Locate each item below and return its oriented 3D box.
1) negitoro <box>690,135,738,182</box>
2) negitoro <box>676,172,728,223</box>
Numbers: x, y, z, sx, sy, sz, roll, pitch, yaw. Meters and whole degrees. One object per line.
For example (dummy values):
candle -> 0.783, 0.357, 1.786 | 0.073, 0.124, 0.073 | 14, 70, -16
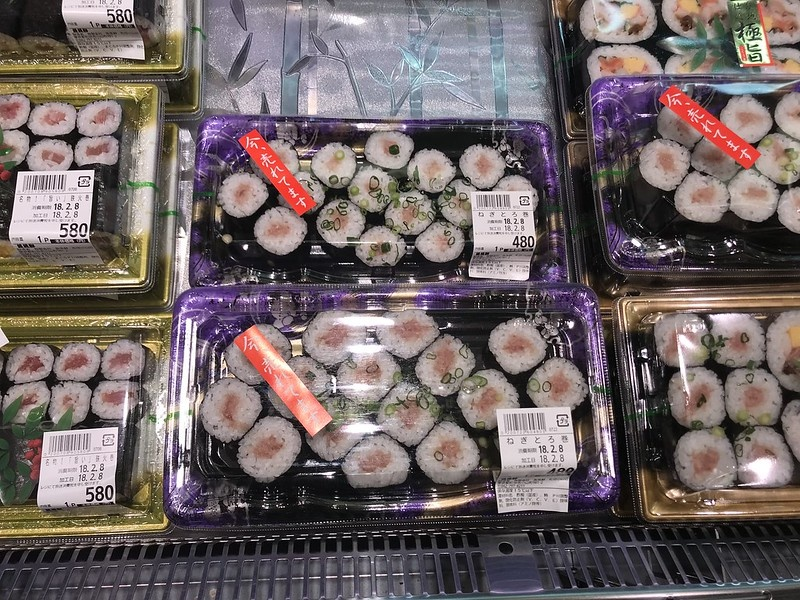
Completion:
negitoro -> 1.215, -0.556, 2.678 | 0.175, 0.052, 0.167 | 43, 100, 0
negitoro -> 1.174, -0.399, 2.661 | 0.202, 0.088, 0.181 | 20, 61, 16
